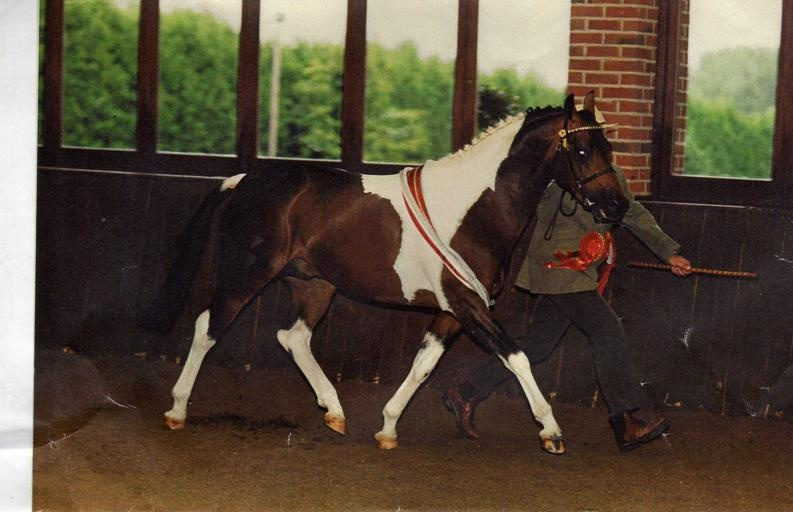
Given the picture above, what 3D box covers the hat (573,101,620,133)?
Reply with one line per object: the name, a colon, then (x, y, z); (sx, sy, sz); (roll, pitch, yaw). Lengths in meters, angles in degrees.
hat: (1.509, -1.017, 7.516); (0.293, 0.127, 0.364); (0, 1, 3)
